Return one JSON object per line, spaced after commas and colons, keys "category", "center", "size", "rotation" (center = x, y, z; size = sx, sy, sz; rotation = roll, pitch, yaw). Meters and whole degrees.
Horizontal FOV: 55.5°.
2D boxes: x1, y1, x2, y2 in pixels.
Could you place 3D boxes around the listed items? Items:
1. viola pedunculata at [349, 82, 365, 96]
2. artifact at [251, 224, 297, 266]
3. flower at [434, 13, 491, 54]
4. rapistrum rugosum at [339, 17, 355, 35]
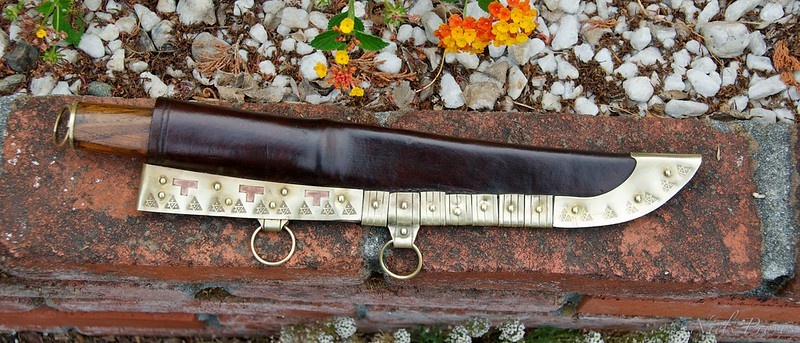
{"category": "viola pedunculata", "center": [-0.244, -0.463, 4.266], "size": [0.090, 0.100, 0.087], "rotation": [10, 59, 2]}
{"category": "artifact", "center": [-0.662, 0.386, 3.980], "size": [0.247, 0.136, 0.191], "rotation": [-4, 58, -7]}
{"category": "flower", "center": [0.340, -0.746, 4.111], "size": [0.255, 0.233, 0.087], "rotation": [30, 28, -9]}
{"category": "rapistrum rugosum", "center": [-0.289, -0.772, 4.096], "size": [0.089, 0.108, 0.076], "rotation": [-1, 59, -5]}
